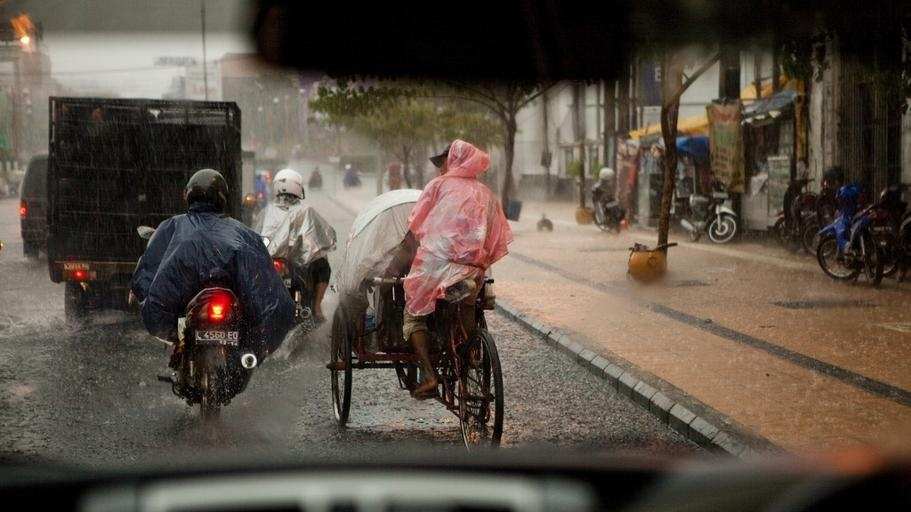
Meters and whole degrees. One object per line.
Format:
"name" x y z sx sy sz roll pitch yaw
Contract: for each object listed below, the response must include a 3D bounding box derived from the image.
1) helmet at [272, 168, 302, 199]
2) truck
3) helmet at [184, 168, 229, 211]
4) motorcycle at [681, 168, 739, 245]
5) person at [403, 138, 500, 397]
"helmet" -2.561 -1.120 13.945 0.390 0.402 0.512 5 9 10
"truck" -5.497 -1.224 16.213 2.726 2.530 4.025 0 6 -13
"helmet" -2.852 -0.796 10.242 0.422 0.512 0.523 2 -3 -9
"motorcycle" 6.981 -1.023 24.322 0.980 1.343 1.729 -4 13 -16
"person" -0.013 0.119 9.869 1.158 2.697 0.819 -4 13 -16
